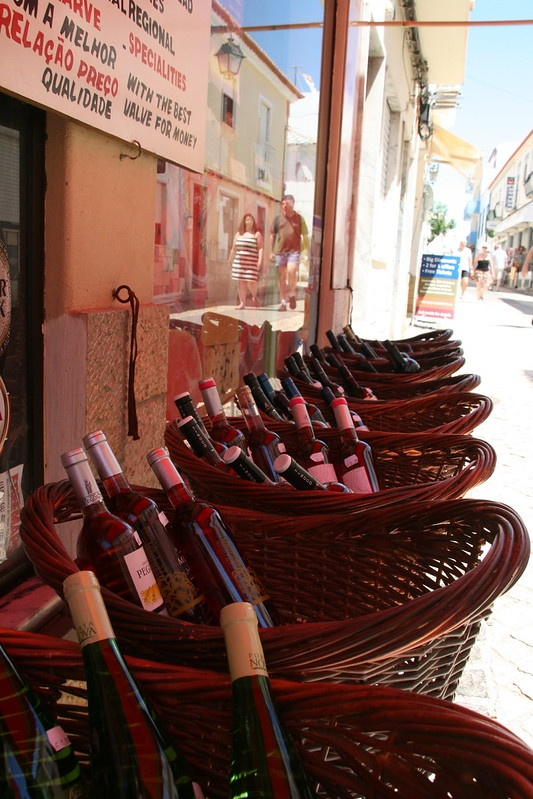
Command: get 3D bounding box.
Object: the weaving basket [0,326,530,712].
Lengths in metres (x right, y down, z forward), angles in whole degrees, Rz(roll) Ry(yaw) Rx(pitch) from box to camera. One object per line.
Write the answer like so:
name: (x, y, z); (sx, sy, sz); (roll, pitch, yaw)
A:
weaving basket: (0.041, 0.141, 0.846); (0.478, 0.302, 0.565); (-7, -3, -43)

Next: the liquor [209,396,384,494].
liquor: (0.072, 0.113, 1.332); (0.228, 0.083, 0.313); (-6, 52, -38)

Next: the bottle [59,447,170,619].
bottle: (-0.190, 0.178, 0.680); (0.071, 0.250, 0.067); (-16, 16, 4)
